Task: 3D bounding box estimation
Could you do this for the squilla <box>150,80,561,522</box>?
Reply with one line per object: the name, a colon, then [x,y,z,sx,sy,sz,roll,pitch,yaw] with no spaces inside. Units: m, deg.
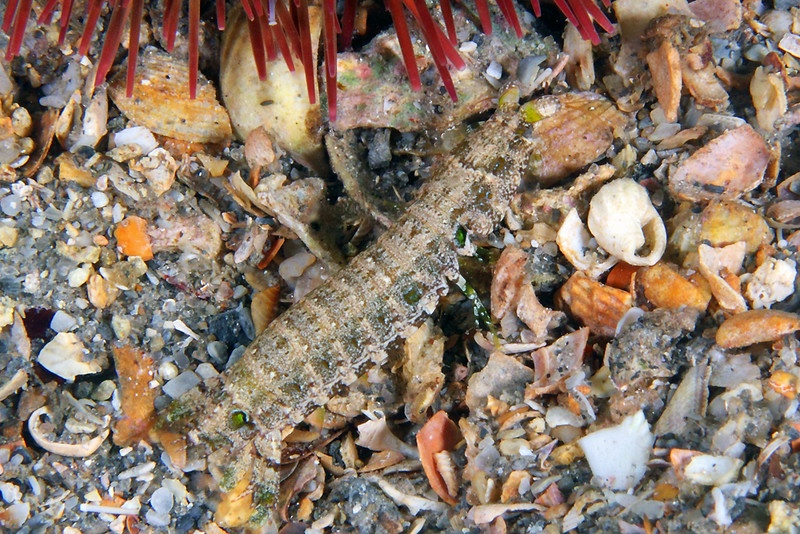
squilla: [-0.195,0.172,5.026,1.096,0.803,3.371,42,89,19]
